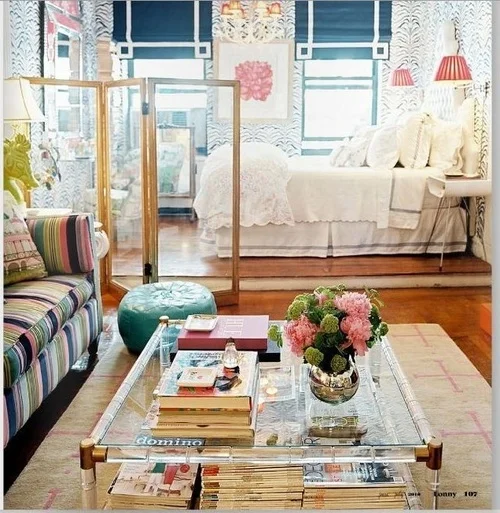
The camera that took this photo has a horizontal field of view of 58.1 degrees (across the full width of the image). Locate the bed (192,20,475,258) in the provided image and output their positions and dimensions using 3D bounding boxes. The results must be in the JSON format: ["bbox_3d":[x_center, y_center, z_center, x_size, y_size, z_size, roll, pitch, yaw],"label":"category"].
[{"bbox_3d":[0.987,-0.919,4.060,1.938,1.319,1.740,1,19,3],"label":"bed"}]

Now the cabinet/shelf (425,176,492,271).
[{"bbox_3d":[1.889,-0.327,4.124,0.601,0.805,0.842,3,8,7],"label":"cabinet/shelf"}]

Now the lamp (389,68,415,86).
[{"bbox_3d":[1.918,-2.250,5.689,0.245,0.171,0.244,-17,22,-33],"label":"lamp"}]

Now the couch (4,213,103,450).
[{"bbox_3d":[-0.844,0.304,1.908,0.256,0.445,0.818,-3,17,-10],"label":"couch"}]

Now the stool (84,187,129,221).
[{"bbox_3d":[-1.054,-0.403,3.380,0.367,0.225,0.127,5,9,23],"label":"stool"}]

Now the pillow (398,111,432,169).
[{"bbox_3d":[1.629,-1.134,4.433,0.164,0.479,0.484,4,17,-7],"label":"pillow"}]

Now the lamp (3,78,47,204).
[{"bbox_3d":[-1.339,-0.703,2.677,0.214,0.766,0.929,-2,9,-25],"label":"lamp"}]
